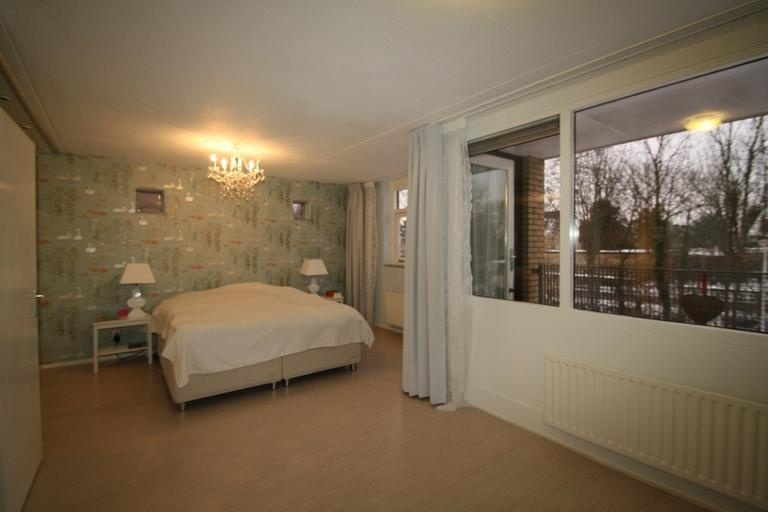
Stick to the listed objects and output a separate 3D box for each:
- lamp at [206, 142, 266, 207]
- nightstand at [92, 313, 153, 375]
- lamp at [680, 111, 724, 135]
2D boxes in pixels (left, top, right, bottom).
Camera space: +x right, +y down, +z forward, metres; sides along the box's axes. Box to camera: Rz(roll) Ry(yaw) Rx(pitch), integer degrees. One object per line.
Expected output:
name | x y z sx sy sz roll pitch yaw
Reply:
lamp | -1.950 -1.078 6.336 0.553 0.544 0.574 -2 0 -6
nightstand | -3.393 1.101 6.167 0.694 0.622 0.508 -3 4 -28
lamp | 2.565 -1.073 3.779 0.167 0.038 0.166 20 -30 -17
